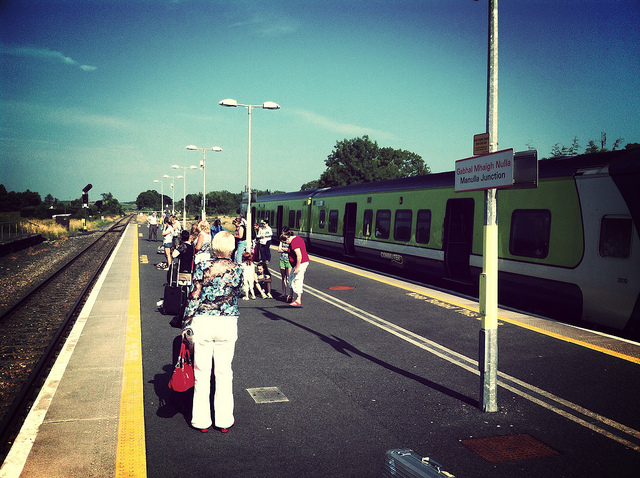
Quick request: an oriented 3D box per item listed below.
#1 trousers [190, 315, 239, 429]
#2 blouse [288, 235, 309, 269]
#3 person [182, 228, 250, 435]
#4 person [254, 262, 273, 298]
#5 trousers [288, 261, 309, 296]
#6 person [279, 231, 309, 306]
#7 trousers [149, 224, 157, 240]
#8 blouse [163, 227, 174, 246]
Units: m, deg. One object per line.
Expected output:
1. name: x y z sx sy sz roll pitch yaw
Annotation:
1. trousers: -1.313 1.653 6.109 0.556 1.488 0.276 -1 6 -17
2. blouse: -0.510 0.276 12.569 0.558 1.041 1.017 -1 0 3
3. person: -1.302 1.159 6.086 0.741 2.523 0.324 -1 6 -17
4. person: -1.550 1.089 13.627 0.491 0.965 0.785 0 6 -8
5. trousers: -0.438 0.973 12.374 0.472 0.791 0.245 33 23 32
6. person: -0.639 0.738 12.626 0.663 1.881 1.103 0 6 -4
7. trousers: -11.261 -0.451 33.109 0.287 0.543 0.958 -3 -2 -36
8. blouse: -5.517 -0.143 18.170 0.284 0.642 0.749 -4 8 -38
